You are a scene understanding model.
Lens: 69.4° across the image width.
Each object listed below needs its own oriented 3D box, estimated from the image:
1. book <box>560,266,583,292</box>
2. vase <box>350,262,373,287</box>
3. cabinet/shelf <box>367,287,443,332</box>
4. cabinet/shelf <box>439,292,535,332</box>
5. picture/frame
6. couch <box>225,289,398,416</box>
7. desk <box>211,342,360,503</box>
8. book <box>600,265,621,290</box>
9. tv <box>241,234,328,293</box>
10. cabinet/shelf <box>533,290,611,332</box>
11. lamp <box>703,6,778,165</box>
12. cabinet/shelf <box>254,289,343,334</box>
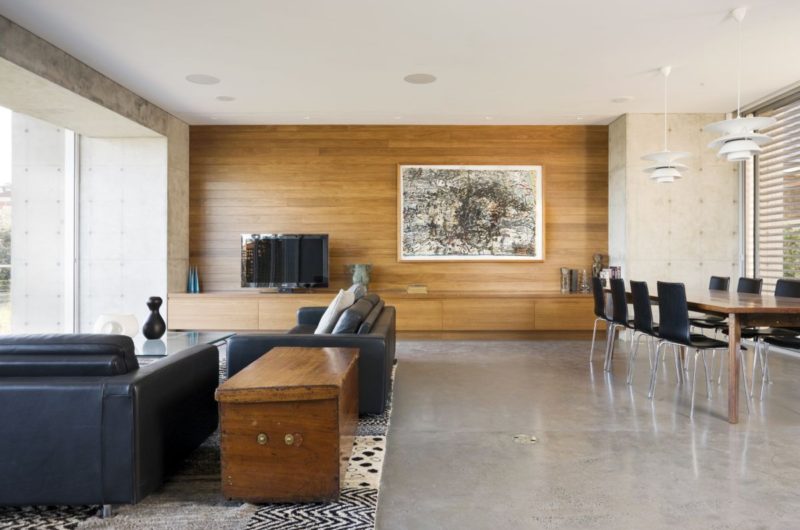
[{"bbox_3d":[2.674,0.244,8.886,0.395,0.420,0.528,0,0,34],"label":"book"},{"bbox_3d":[-0.572,0.185,8.692,0.308,0.381,0.371,-2,2,-4],"label":"vase"},{"bbox_3d":[0.211,0.682,8.307,1.190,0.520,0.548,0,1,3],"label":"cabinet/shelf"},{"bbox_3d":[1.283,0.766,8.496,1.854,0.486,0.468,0,0,2],"label":"cabinet/shelf"},{"bbox_3d":[1.159,-0.772,8.829,2.228,1.067,0.068,0,-1,-1],"label":"picture/frame"},{"bbox_3d":[-0.692,0.816,5.387,1.015,0.437,1.628,0,0,10],"label":"couch"},{"bbox_3d":[-0.748,1.147,4.412,1.072,0.704,1.692,0,1,2],"label":"desk"},{"bbox_3d":[2.704,0.185,7.417,0.219,0.291,0.353,-1,3,-1],"label":"book"},{"bbox_3d":[-1.683,-0.008,8.774,1.682,0.872,0.408,1,1,33],"label":"tv"},{"bbox_3d":[2.352,0.701,8.271,1.105,0.397,0.519,0,1,5],"label":"cabinet/shelf"},{"bbox_3d":[3.802,-1.806,6.448,0.585,1.444,2.106,-1,1,31],"label":"lamp"},{"bbox_3d":[-1.598,0.718,8.931,0.664,0.626,1.821,0,-7,-26],"label":"cabinet/shelf"}]
